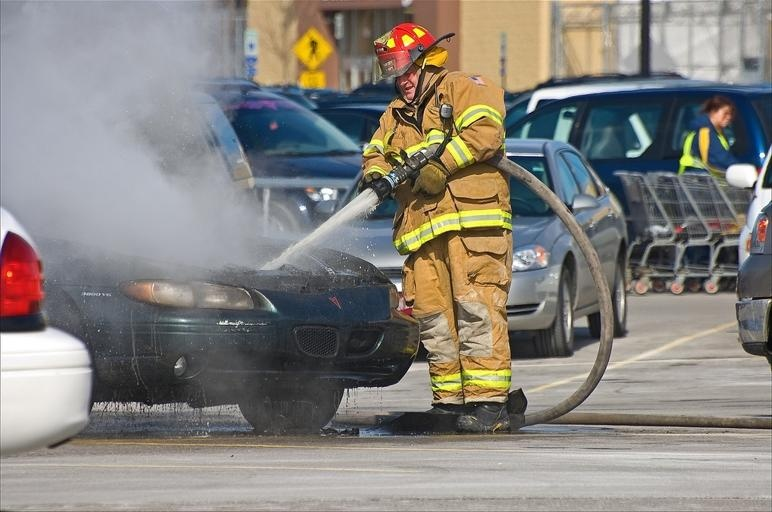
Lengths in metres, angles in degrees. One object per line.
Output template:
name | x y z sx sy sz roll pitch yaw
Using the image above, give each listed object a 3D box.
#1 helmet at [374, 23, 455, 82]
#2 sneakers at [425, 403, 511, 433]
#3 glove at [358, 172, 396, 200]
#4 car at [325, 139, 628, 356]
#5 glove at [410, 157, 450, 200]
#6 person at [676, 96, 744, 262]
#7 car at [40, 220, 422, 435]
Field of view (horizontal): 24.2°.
helmet | 0.155 -1.329 11.486 0.461 0.252 0.317 -36 10 -8
sneakers | 0.547 1.000 11.379 0.576 0.237 0.183 4 -1 -4
glove | -0.025 -0.456 11.413 0.157 0.125 0.222 -19 18 -42
car | 0.993 -0.094 14.113 1.400 1.080 2.514 0 -1 23
glove | 0.288 -0.479 11.185 0.258 0.179 0.109 -29 -18 9
person | 3.124 -0.798 17.436 0.671 1.458 0.527 4 24 0
car | -0.892 0.462 10.850 1.985 0.581 1.050 1 0 25
